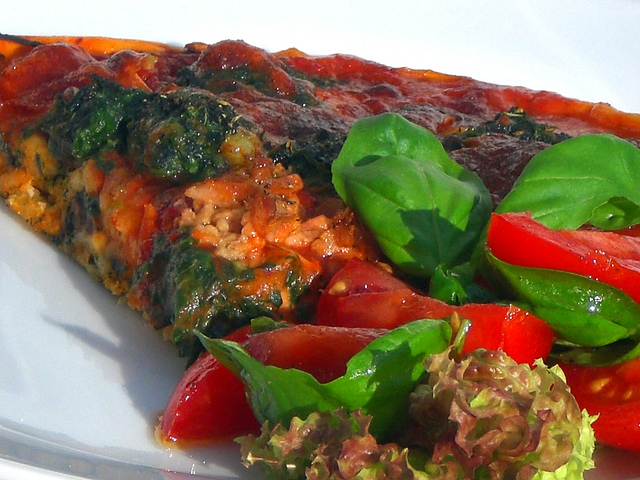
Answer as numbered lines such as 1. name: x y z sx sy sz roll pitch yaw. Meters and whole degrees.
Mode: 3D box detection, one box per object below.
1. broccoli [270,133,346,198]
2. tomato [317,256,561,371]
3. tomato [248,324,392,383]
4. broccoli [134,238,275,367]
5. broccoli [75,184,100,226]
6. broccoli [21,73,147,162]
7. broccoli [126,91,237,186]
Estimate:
1. broccoli: -0.054 -0.237 3.065 0.236 0.063 0.219 7 36 -7
2. tomato: 0.287 0.183 2.463 0.452 0.161 0.279 17 13 20
3. tomato: 0.018 0.262 2.437 0.446 0.096 0.257 -4 9 0
4. broccoli: -0.375 0.175 2.748 0.431 0.390 0.228 27 18 38
5. broccoli: -0.773 -0.110 3.106 0.034 0.116 0.130 -2 21 -41
6. broccoli: -0.762 -0.407 3.111 0.350 0.103 0.353 -38 35 -18
7. broccoli: -0.436 -0.323 2.979 0.318 0.102 0.317 -11 51 -3
